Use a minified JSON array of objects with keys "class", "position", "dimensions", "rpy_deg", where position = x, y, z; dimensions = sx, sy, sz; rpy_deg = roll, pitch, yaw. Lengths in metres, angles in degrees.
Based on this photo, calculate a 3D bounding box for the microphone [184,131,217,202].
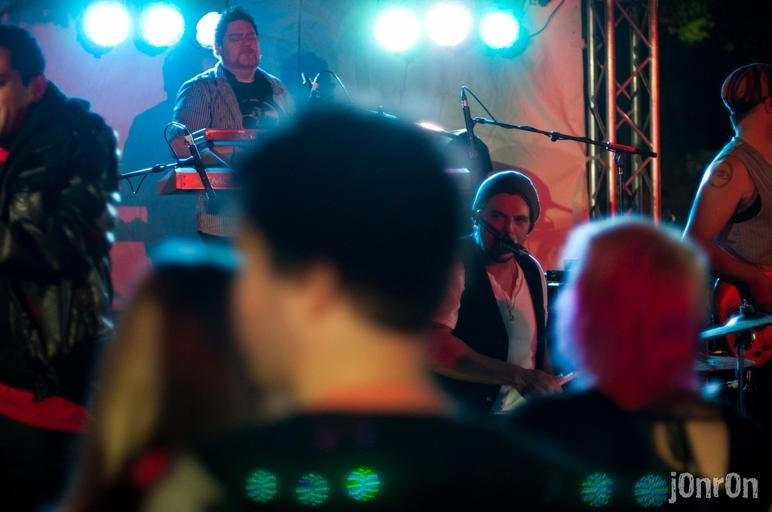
[{"class":"microphone","position":[-1.080,-0.507,4.353],"dimensions":[0.106,0.352,0.315],"rpy_deg":[-3,12,-36]}]

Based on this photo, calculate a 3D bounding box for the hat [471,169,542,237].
[{"class":"hat","position":[0.632,-0.290,3.980],"dimensions":[0.305,0.338,0.150],"rpy_deg":[9,11,4]}]

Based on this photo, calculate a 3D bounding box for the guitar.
[{"class":"guitar","position":[1.931,0.343,4.122],"dimensions":[0.375,0.488,0.131],"rpy_deg":[7,-12,-27]}]

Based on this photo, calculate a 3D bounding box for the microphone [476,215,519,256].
[{"class":"microphone","position":[0.534,-0.095,3.710],"dimensions":[0.254,0.150,0.081],"rpy_deg":[10,12,30]}]
